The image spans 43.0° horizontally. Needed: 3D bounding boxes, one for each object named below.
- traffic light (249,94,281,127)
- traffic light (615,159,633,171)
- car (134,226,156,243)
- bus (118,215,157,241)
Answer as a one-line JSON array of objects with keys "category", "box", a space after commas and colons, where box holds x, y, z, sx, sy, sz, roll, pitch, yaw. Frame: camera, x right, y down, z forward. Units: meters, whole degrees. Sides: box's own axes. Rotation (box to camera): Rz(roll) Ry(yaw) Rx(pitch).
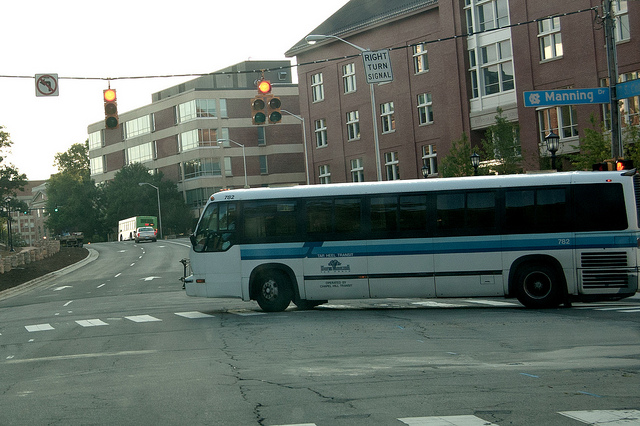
[{"category": "traffic light", "box": [-1.902, -3.694, 28.846, 1.280, 1.061, 0.428, -12, 16, -42]}, {"category": "traffic light", "box": [9.892, -1.564, 26.522, 0.578, 0.358, 0.303, -1, -2, 12]}, {"category": "car", "box": [-19.283, 2.443, 90.004, 1.935, 1.400, 4.403, -1, 1, -10]}, {"category": "bus", "box": [-22.227, 1.843, 99.927, 2.784, 2.136, 8.222, 1, -2, -20]}]
